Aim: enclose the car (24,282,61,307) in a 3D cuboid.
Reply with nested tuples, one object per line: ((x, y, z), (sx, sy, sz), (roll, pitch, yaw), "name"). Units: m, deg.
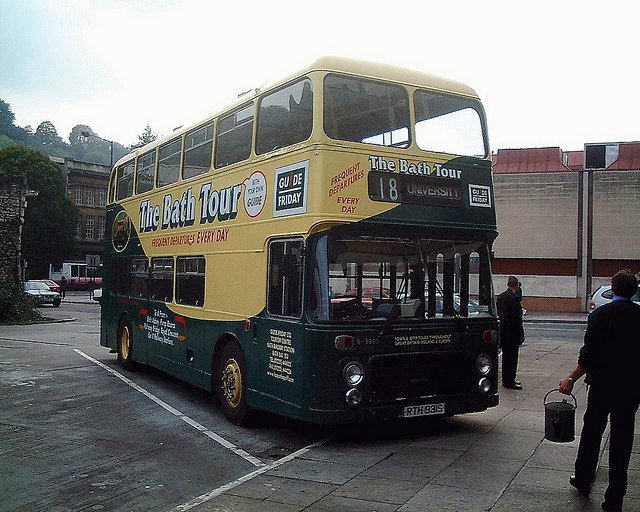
((-20.567, 2.943, 37.659), (2.235, 1.825, 3.684), (0, -3, 0), "car")

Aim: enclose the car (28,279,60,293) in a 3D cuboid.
((-21.793, 2.487, 40.210), (3.145, 1.176, 1.221), (-1, 0, 4), "car")
